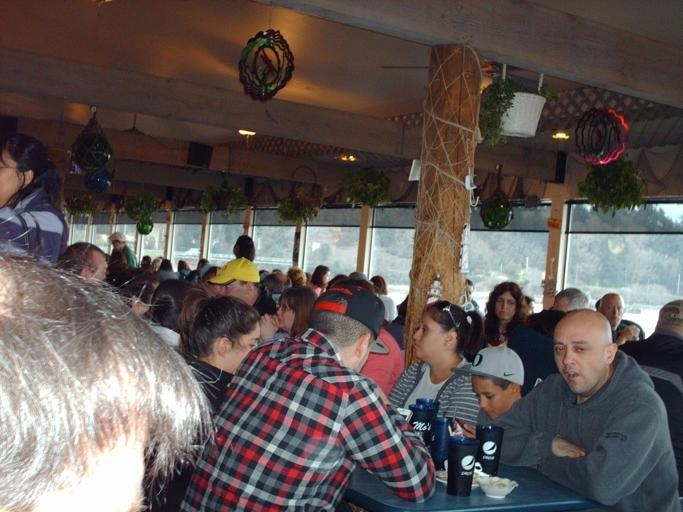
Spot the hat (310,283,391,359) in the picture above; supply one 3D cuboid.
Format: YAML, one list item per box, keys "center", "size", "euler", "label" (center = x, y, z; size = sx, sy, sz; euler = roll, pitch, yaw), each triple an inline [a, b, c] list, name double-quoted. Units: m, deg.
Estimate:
- center: [0.034, 0.192, 1.841]
  size: [0.253, 0.186, 0.146]
  euler: [3, -2, -18]
  label: "hat"

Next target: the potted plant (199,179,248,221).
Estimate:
- center: [-2.390, -1.147, 11.228]
  size: [0.860, 0.753, 0.886]
  euler: [3, -6, -14]
  label: "potted plant"

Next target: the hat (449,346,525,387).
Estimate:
- center: [0.669, 0.466, 2.376]
  size: [0.221, 0.133, 0.170]
  euler: [5, -9, -5]
  label: "hat"

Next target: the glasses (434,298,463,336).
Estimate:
- center: [0.514, 0.285, 2.605]
  size: [0.031, 0.119, 0.112]
  euler: [-25, 16, -15]
  label: "glasses"

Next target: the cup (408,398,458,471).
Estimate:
- center: [0.337, 0.635, 2.021]
  size: [0.185, 0.302, 0.197]
  euler: [2, 6, 0]
  label: "cup"

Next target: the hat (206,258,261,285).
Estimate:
- center: [-0.752, 0.108, 3.908]
  size: [0.273, 0.162, 0.182]
  euler: [2, -2, -11]
  label: "hat"

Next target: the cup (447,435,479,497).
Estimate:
- center: [0.392, 0.677, 1.764]
  size: [0.095, 0.183, 0.099]
  euler: [2, -2, 0]
  label: "cup"
